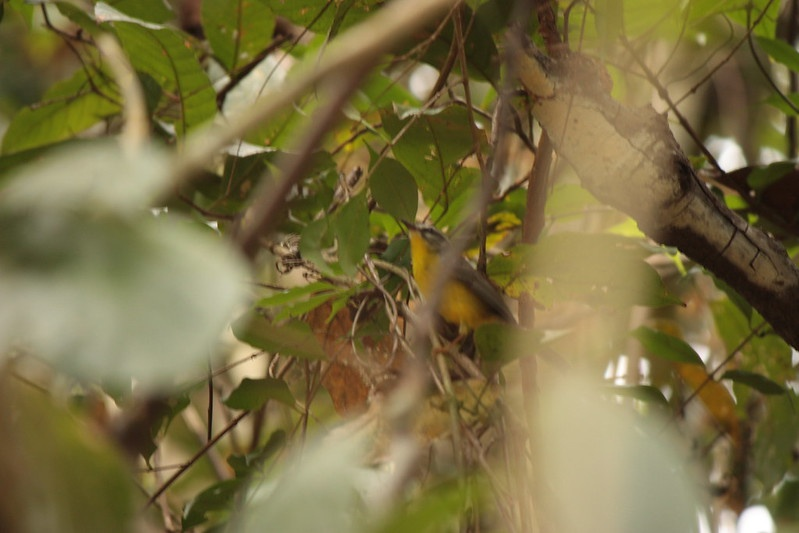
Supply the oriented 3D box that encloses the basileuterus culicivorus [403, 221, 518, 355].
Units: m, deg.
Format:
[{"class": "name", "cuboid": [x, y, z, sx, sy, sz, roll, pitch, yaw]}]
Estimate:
[{"class": "basileuterus culicivorus", "cuboid": [0.083, 0.042, 1.517, 0.175, 0.197, 0.143, 7, -34, 13]}]
